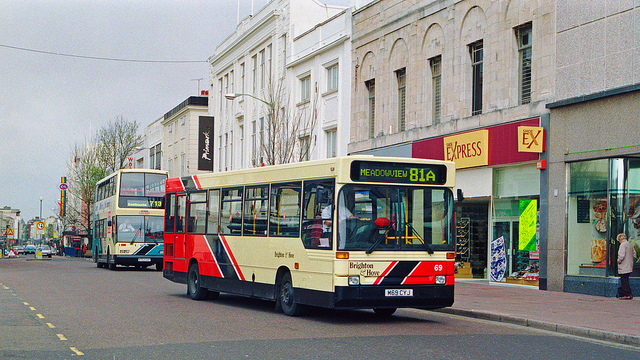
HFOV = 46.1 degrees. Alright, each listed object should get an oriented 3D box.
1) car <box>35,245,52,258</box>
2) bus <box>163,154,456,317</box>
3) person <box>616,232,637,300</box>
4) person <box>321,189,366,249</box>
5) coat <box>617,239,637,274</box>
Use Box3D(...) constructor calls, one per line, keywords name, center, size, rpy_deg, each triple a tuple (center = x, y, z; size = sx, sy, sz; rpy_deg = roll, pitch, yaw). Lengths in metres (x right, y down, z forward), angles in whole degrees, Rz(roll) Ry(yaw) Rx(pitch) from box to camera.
Box3D(name="car", center=(-33.696, 8.653, 92.418), size=(1.285, 1.156, 2.425), rpy_deg=(3, -12, -26))
Box3D(name="bus", center=(-1.182, 2.013, 28.853), size=(12.825, 5.815, 3.763), rpy_deg=(1, 2, 42))
Box3D(name="person", center=(12.461, 3.501, 30.638), size=(0.631, 2.597, 1.240), rpy_deg=(1, 3, 23))
Box3D(name="person", center=(0.677, 1.278, 25.178), size=(1.275, 1.955, 0.477), rpy_deg=(0, 3, 8))
Box3D(name="coat", center=(12.421, 3.135, 30.437), size=(0.627, 1.297, 0.420), rpy_deg=(0, 2, 2))
